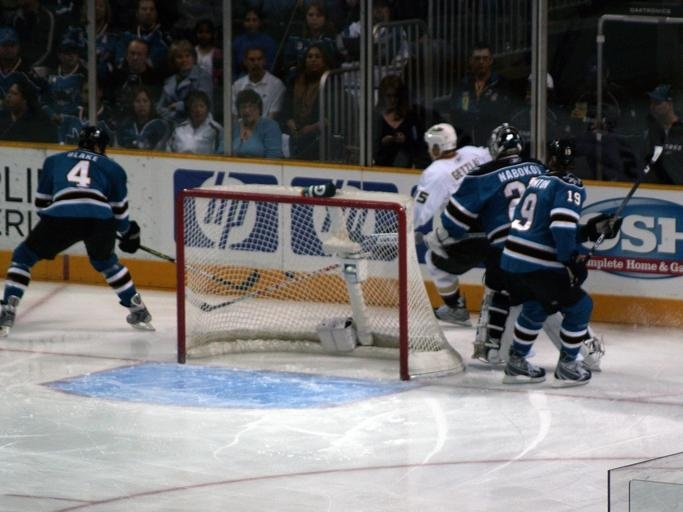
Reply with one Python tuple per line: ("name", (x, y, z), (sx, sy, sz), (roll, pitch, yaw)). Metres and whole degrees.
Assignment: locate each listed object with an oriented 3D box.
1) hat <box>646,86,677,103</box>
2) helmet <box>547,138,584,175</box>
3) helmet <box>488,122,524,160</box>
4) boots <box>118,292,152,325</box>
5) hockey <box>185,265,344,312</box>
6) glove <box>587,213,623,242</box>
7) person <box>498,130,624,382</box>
("hat", (2.435, -1.221, 7.462), (0.160, 0.105, 0.110), (6, 10, 17))
("helmet", (1.439, -0.619, 6.191), (0.247, 0.244, 0.273), (-1, 17, -5))
("helmet", (1.097, -0.765, 6.643), (0.240, 0.246, 0.223), (3, 39, -4))
("boots", (-1.554, 0.430, 7.603), (0.298, 0.246, 0.128), (-22, 0, 40))
("hockey", (-0.524, 0.234, 7.240), (1.203, 0.026, 0.350), (-10, 34, -32))
("glove", (1.585, -0.171, 6.016), (0.241, 0.176, 0.173), (12, 11, 23))
("person", (1.263, 0.157, 6.061), (0.544, 1.329, 0.313), (6, 16, 23))
